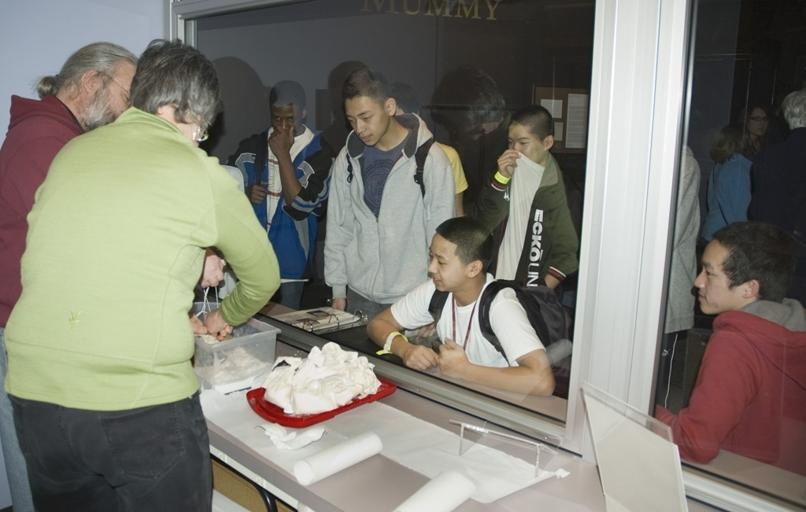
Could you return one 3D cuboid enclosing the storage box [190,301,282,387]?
[{"bbox_3d":[-0.595,0.322,1.968,0.171,0.122,0.263,-4,6,-35],"label":"storage box"}]
